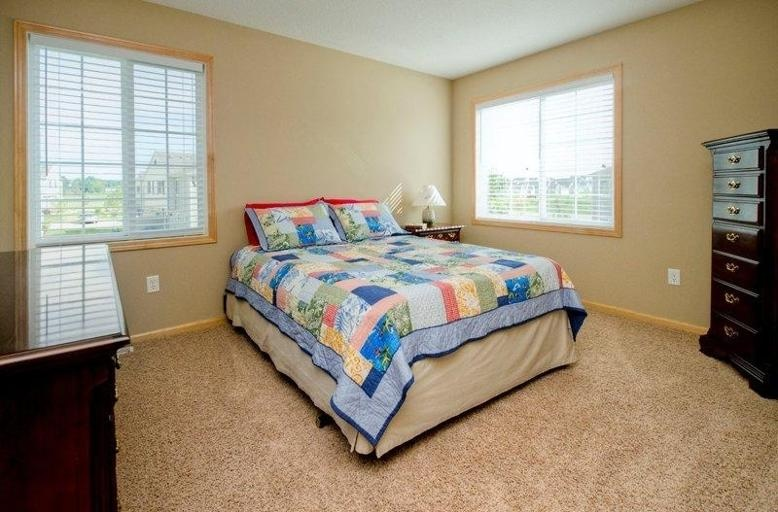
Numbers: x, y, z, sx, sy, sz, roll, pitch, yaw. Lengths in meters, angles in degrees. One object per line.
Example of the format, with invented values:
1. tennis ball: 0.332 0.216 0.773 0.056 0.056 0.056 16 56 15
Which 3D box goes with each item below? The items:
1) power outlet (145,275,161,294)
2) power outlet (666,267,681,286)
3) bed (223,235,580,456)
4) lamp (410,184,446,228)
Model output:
1. power outlet: -2.067 0.241 4.505 0.163 0.227 0.029 -1 12 -41
2. power outlet: 2.540 0.178 4.606 0.019 0.231 0.163 0 0 -30
3. bed: 0.104 0.493 4.245 2.129 1.066 1.955 -9 12 -31
4. lamp: 0.452 -0.573 5.928 0.415 0.474 0.425 -1 4 -7
